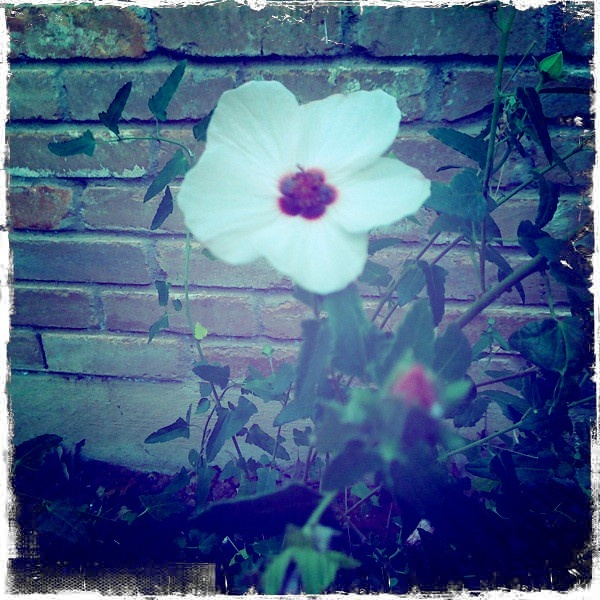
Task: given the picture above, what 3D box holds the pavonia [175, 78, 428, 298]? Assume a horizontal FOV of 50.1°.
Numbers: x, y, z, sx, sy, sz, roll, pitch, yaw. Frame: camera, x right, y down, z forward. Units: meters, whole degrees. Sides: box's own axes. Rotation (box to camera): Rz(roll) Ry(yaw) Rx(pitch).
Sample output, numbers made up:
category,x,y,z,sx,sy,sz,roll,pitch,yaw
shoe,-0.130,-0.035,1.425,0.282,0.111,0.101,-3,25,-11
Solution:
category,x,y,z,sx,sy,sz,roll,pitch,yaw
pavonia,0.005,-0.151,0.852,0.328,0.285,0.116,-1,-31,-8
